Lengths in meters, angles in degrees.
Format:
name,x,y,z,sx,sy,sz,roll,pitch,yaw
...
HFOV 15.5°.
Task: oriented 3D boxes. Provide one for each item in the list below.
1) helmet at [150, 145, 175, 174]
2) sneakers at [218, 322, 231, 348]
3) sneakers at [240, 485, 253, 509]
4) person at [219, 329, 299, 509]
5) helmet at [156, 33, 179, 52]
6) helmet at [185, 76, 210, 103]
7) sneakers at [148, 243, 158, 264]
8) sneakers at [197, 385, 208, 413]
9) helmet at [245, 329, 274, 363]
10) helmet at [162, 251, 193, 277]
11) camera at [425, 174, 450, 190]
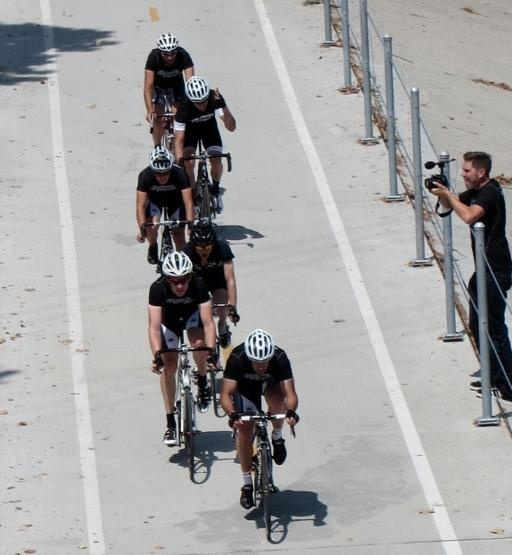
name,x,y,z,sx,sy,sz,roll,pitch,yaw
helmet,-1.204,-1.472,23.544,0.246,0.177,0.344,-1,60,-13
sneakers,-0.394,0.707,22.941,0.111,0.128,0.326,-7,65,-5
sneakers,-0.108,2.389,20.536,0.128,0.170,0.251,0,57,0
person,0.036,1.507,20.504,0.821,2.059,0.928,-4,21,1
helmet,-1.248,-3.268,26.249,0.285,0.253,0.320,-6,21,-4
helmet,-0.789,-2.483,24.807,0.303,0.355,0.347,-5,21,-2
sneakers,-1.349,-0.319,24.260,0.093,0.184,0.273,8,39,-16
sneakers,-0.627,1.396,21.783,0.104,0.121,0.309,-1,57,-1
helmet,0.024,0.749,20.089,0.313,0.349,0.368,-5,21,-1
helmet,-0.900,-0.124,21.102,0.324,0.276,0.345,-7,22,-6
camera,2.093,-1.129,21.900,0.212,0.130,0.201,-3,5,-33
